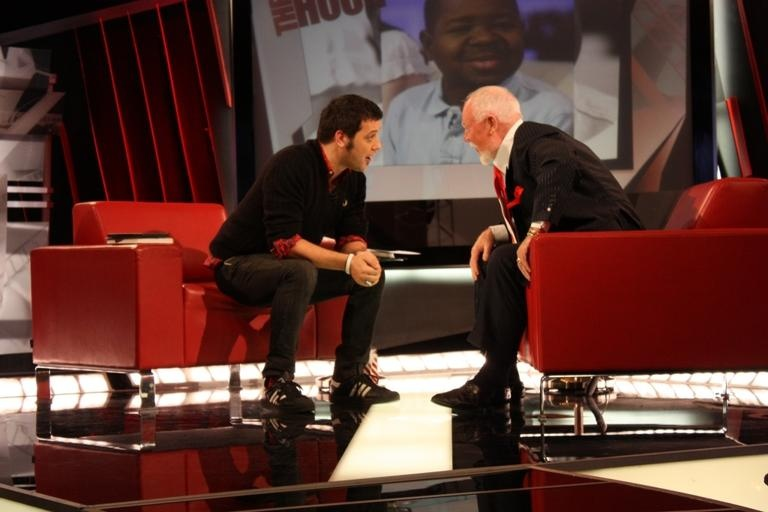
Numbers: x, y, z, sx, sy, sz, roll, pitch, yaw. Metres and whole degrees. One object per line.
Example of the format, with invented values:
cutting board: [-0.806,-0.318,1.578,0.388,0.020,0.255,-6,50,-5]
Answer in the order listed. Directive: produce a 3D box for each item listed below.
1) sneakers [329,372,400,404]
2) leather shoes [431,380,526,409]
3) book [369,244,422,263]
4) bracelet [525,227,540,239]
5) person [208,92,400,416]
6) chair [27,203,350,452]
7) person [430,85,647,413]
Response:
sneakers: [-0.093,0.644,3.818,0.344,0.139,0.131,0,-6,-1]
leather shoes: [0.424,0.653,3.680,0.460,0.171,0.153,0,-5,7]
book: [0.058,-0.008,4.420,0.447,0.097,0.098,-1,15,-2]
bracelet: [0.641,-0.097,3.464,0.042,0.043,0.050,6,-8,-39]
person: [-0.378,-0.026,3.750,0.817,1.444,0.590,-4,7,-13]
chair: [-0.926,0.274,4.126,1.116,1.230,1.596,-2,-2,43]
person: [0.781,0.082,4.458,1.457,1.973,1.129,-6,-14,17]
